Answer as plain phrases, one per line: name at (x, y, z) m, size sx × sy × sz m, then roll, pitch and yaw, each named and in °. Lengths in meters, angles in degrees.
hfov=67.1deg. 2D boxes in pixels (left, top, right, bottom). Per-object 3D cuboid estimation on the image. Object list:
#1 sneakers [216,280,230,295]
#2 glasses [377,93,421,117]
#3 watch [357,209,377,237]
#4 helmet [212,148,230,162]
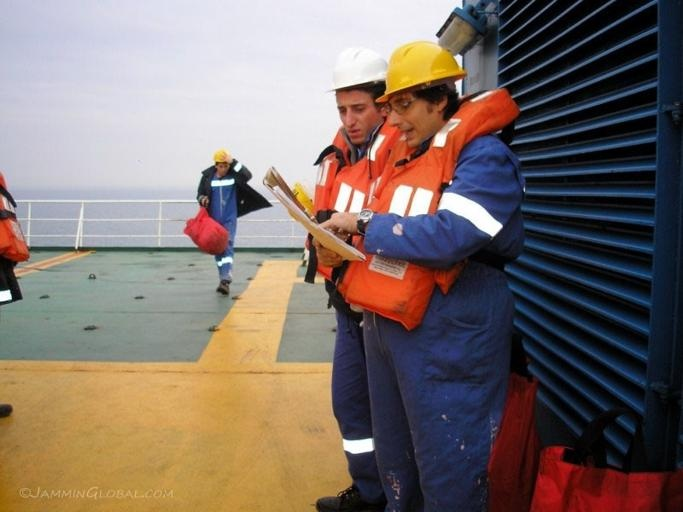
sneakers at (-1.899, 0.491, 8.309) m, size 0.191 × 0.222 × 0.290 m, roll -2°, pitch 9°, yaw -15°
glasses at (0.282, -0.703, 2.311) m, size 0.131 × 0.057 × 0.098 m, roll -37°, pitch 23°, yaw -35°
watch at (0.114, -0.154, 2.341) m, size 0.116 × 0.112 × 0.076 m, roll 2°, pitch 37°, yaw -7°
helmet at (-2.050, -1.724, 8.907) m, size 0.279 × 0.206 × 0.376 m, roll -1°, pitch 9°, yaw -12°
